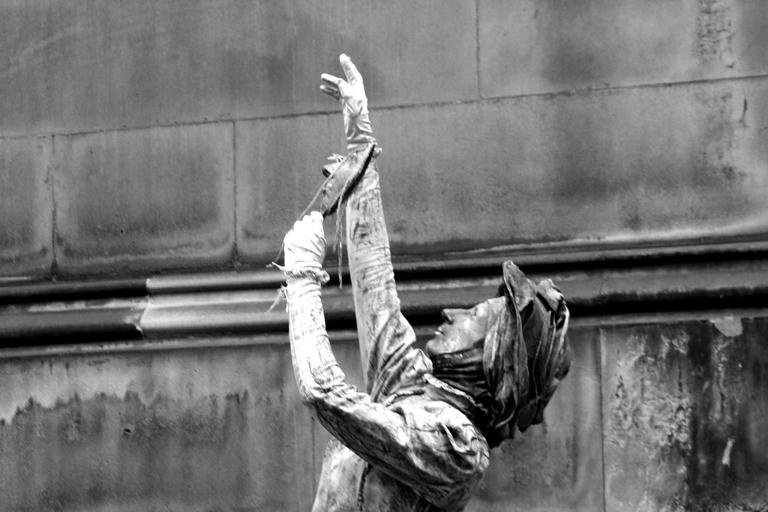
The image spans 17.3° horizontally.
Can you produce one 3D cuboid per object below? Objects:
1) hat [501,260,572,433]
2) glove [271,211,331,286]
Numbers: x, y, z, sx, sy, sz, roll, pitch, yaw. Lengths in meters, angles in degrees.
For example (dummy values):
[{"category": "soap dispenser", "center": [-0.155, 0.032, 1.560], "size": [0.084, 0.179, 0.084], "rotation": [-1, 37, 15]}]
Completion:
[{"category": "hat", "center": [0.884, 0.488, 14.349], "size": [0.299, 0.804, 0.628], "rotation": [7, -47, 13]}, {"category": "glove", "center": [-0.458, -0.024, 14.287], "size": [0.266, 0.400, 0.122], "rotation": [28, -32, -28]}]
